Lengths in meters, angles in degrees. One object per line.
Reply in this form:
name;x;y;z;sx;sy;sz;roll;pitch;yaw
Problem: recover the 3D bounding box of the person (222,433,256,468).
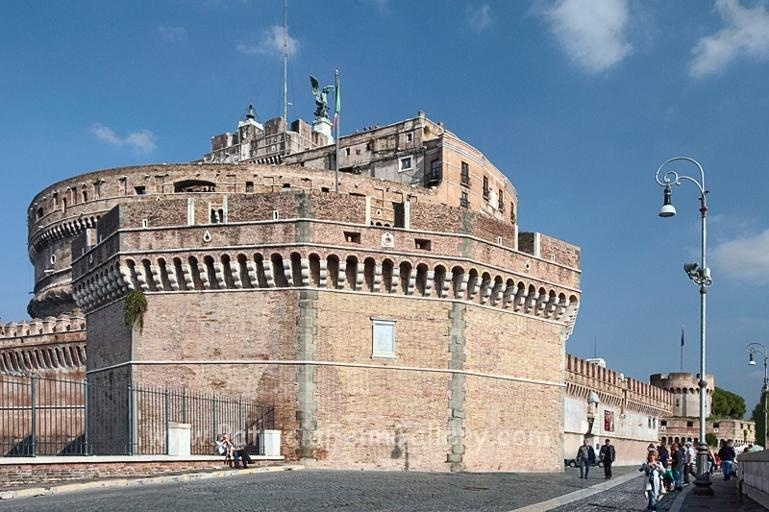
person;-7.120;9.298;74.924;1.086;1.853;0.813;-17;-20;5
